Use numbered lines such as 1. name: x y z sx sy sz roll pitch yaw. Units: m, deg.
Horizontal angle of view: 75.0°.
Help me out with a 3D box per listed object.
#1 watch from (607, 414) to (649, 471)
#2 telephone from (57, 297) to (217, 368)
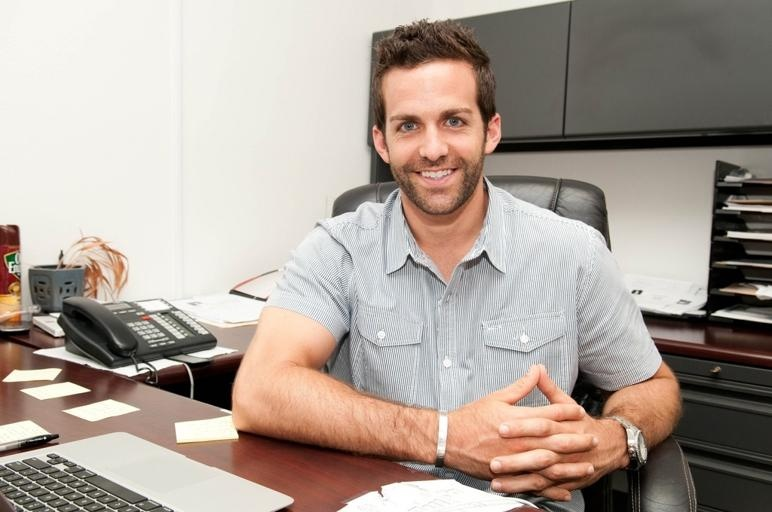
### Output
1. watch: 0.537 0.408 1.084 0.062 0.095 0.091 -15 -9 -26
2. telephone: -0.728 0.206 1.515 0.351 0.126 0.372 11 6 20
